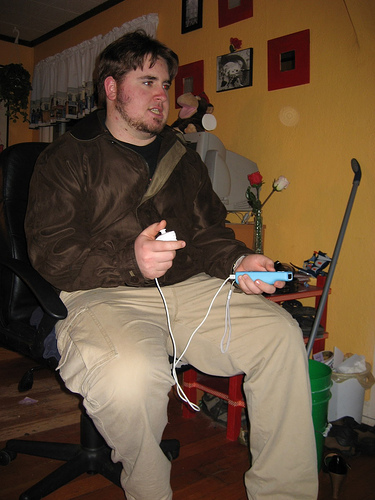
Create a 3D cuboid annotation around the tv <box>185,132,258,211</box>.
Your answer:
[{"bbox_3d":[0.200,-0.403,2.215,0.340,0.352,0.503,-23,11,-4],"label":"tv"}]

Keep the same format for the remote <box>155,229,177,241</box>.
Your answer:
[{"bbox_3d":[-0.045,-0.035,1.001,0.032,0.030,0.033,-1,1,31],"label":"remote"}]
